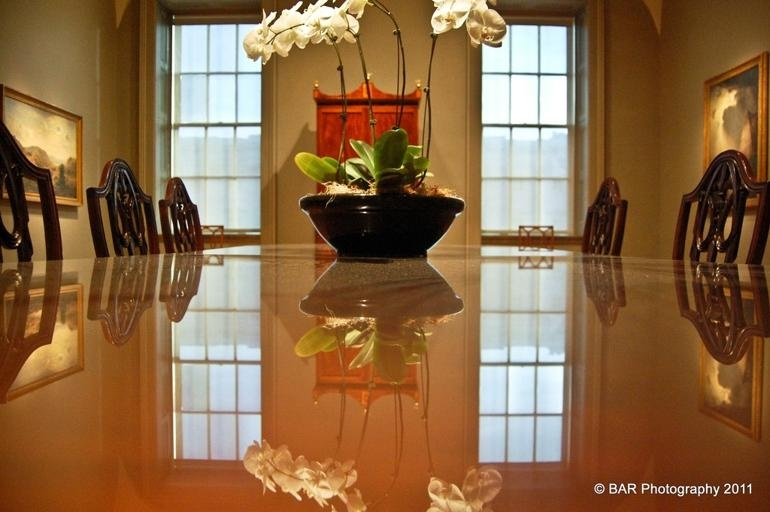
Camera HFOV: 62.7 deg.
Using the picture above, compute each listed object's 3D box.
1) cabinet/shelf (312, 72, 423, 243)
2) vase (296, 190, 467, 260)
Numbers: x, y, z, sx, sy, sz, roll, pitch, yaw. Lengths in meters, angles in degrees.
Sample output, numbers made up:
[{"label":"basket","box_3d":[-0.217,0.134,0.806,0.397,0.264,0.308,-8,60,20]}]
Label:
[{"label":"cabinet/shelf","box_3d":[-0.131,-0.363,4.186,0.768,1.752,0.243,1,-27,-3]},{"label":"vase","box_3d":[-0.006,-0.077,1.130,0.301,0.123,0.322,-4,12,-20]}]
